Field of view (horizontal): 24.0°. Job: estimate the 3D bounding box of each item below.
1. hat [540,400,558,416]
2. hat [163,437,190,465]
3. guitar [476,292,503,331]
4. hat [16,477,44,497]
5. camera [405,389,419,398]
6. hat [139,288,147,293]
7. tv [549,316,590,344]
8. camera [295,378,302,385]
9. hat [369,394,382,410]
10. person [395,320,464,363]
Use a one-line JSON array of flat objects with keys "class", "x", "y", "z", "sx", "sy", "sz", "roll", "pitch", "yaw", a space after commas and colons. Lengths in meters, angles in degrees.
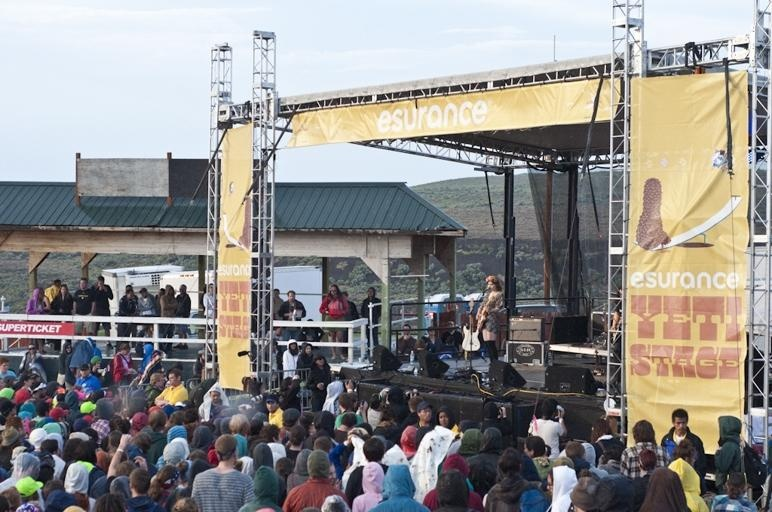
[{"class": "hat", "x": 3.106, "y": 2.894, "z": 35.282, "sx": 0.282, "sy": 0.365, "sz": 0.433, "roll": -2, "pitch": -6, "yaw": 4}, {"class": "hat", "x": -3.855, "y": 3.486, "z": 33.164, "sx": 0.384, "sy": 0.423, "sz": 0.523, "roll": 1, "pitch": 2, "yaw": 3}, {"class": "guitar", "x": 2.304, "y": 1.183, "z": 41.465, "sx": 0.595, "sy": 0.855, "sz": 0.662, "roll": -2, "pitch": -6, "yaw": 1}, {"class": "hat", "x": -6.356, "y": 4.009, "z": 32.288, "sx": 0.505, "sy": 0.341, "sz": 0.272, "roll": 1, "pitch": -7, "yaw": -21}, {"class": "camera", "x": 0.489, "y": 2.820, "z": 38.260, "sx": 0.215, "sy": 0.105, "sz": 0.296, "roll": 0, "pitch": -1, "yaw": -3}, {"class": "hat", "x": -6.123, "y": 0.834, "z": 45.453, "sx": 0.134, "sy": 0.165, "sz": 0.172, "roll": 0, "pitch": 14, "yaw": 0}, {"class": "tv", "x": 4.179, "y": 1.646, "z": 41.875, "sx": 1.197, "sy": 0.652, "sz": 0.387, "roll": 5, "pitch": -9, "yaw": -44}, {"class": "camera", "x": -1.909, "y": 2.598, "z": 38.357, "sx": 0.059, "sy": 0.173, "sz": 0.123, "roll": -14, "pitch": 4, "yaw": 5}, {"class": "hat", "x": -0.266, "y": 2.855, "z": 36.240, "sx": 0.230, "sy": 0.321, "sz": 0.649, "roll": -2, "pitch": -6, "yaw": -1}, {"class": "person", "x": 1.118, "y": 2.033, "z": 44.690, "sx": 1.119, "sy": 0.669, "sz": 1.097, "roll": 0, "pitch": -1, "yaw": -41}]
